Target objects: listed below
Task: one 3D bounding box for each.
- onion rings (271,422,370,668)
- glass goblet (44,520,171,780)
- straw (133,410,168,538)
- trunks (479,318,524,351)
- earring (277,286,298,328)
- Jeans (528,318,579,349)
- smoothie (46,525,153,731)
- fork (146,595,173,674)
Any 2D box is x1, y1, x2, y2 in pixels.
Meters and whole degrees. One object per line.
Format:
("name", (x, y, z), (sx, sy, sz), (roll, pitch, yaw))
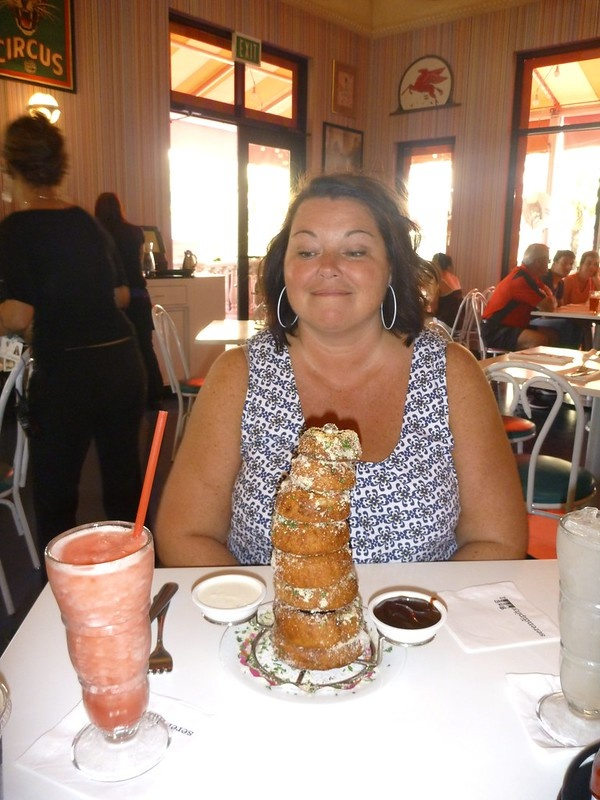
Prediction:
("onion rings", (0.021, 0.179, 0.807), (0.121, 0.286, 0.116), (0, 9, 0))
("glass goblet", (-0.207, 0.272, 0.706), (0.127, 0.236, 0.119), (-4, 8, -8))
("straw", (-0.173, 0.084, 0.746), (0.015, 0.147, 0.012), (3, -14, 30))
("trunks", (1.879, -0.592, 5.996), (0.278, 0.325, 0.132), (4, 27, 26))
("earring", (-0.032, -0.230, 1.593), (0.073, 0.091, 0.020), (-1, -3, -22))
("Jeans", (2.597, -0.713, 6.528), (0.350, 0.146, 0.425), (-8, 20, -23))
("smoothie", (-0.214, 0.233, 0.722), (0.125, 0.215, 0.108), (-2, 5, -30))
("fork", (-0.193, 0.324, 0.879), (0.029, 0.012, 0.112), (-3, 27, -10))
